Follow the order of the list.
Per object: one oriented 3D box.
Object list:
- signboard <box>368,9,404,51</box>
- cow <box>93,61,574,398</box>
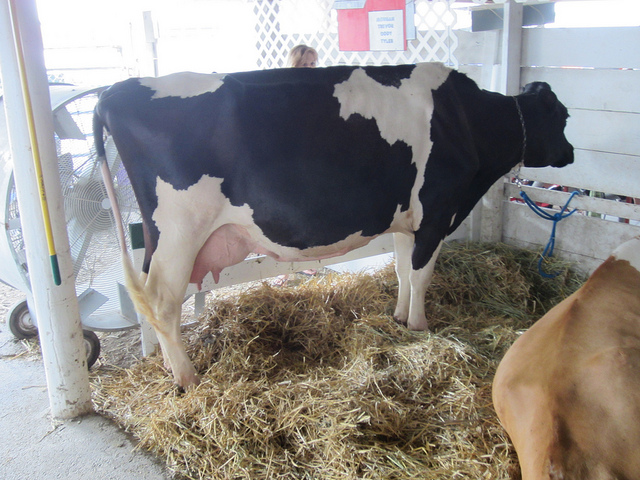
[{"bbox_3d":[0.855,-2.668,6.556,0.491,0.442,0.049,18,32,41],"label":"signboard"},{"bbox_3d":[0.301,-0.180,3.537,3.236,1.985,0.830,-5,12,-11],"label":"cow"}]
